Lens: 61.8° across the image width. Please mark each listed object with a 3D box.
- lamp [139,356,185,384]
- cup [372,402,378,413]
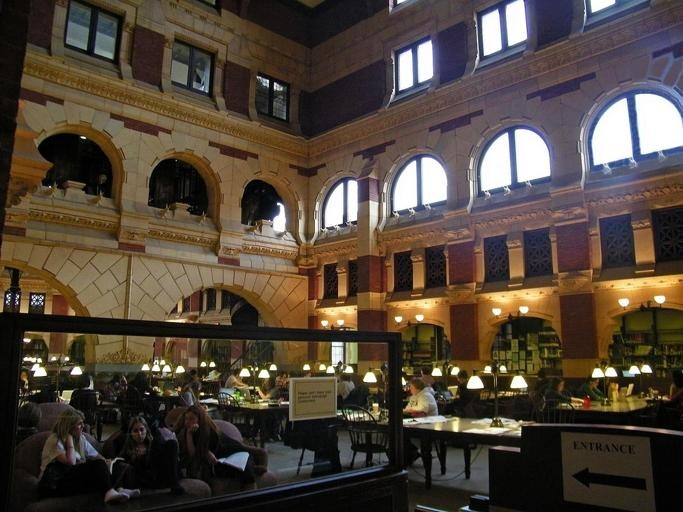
[{"bbox_3d":[-1.376,0.865,4.375,0.317,0.162,0.067,7,-5,-15],"label":"lamp"},{"bbox_3d":[0.305,1.410,5.311,0.058,0.111,0.059,0,-4,0],"label":"cup"}]
